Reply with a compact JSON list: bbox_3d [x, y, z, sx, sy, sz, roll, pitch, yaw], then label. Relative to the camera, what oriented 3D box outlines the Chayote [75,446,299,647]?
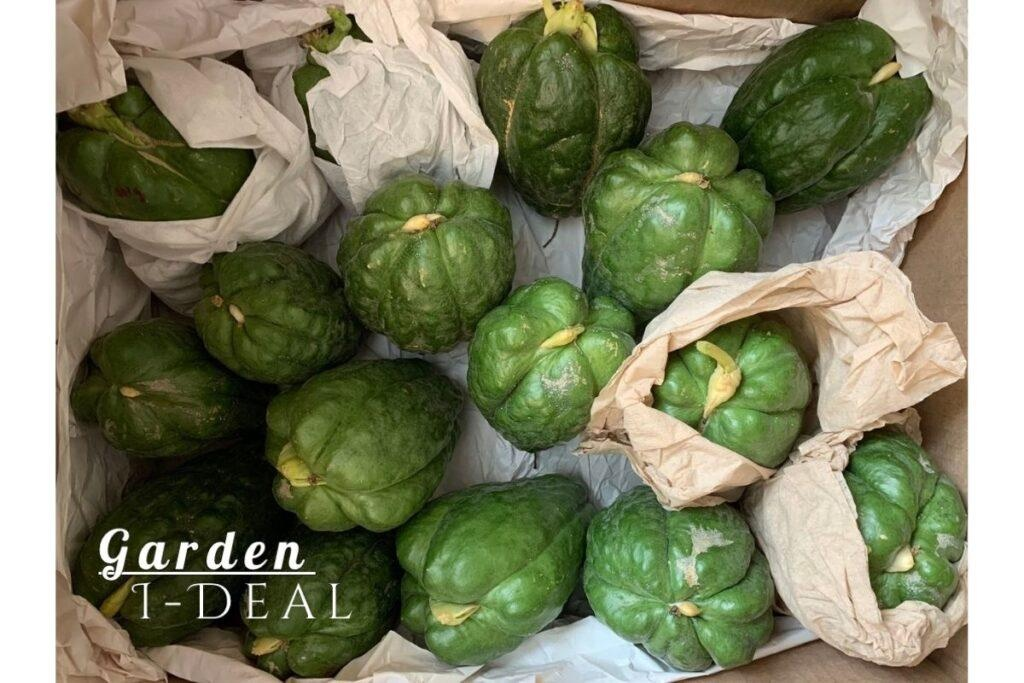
[{"bbox_3d":[-0.759,0.475,2.217,0.285,0.237,0.496,43,51,5],"label":"Chayote"}]

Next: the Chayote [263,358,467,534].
[{"bbox_3d":[-0.333,0.272,2.222,0.339,0.328,0.437,40,42,18],"label":"Chayote"}]

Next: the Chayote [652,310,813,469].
[{"bbox_3d":[0.485,0.076,2.072,0.300,0.321,0.327,3,6,27],"label":"Chayote"}]

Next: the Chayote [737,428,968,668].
[{"bbox_3d":[0.697,0.423,1.949,0.376,0.238,0.523,-15,73,5],"label":"Chayote"}]

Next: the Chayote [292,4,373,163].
[{"bbox_3d":[-0.425,-0.621,2.168,0.197,0.294,0.113,5,10,29],"label":"Chayote"}]

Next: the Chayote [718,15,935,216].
[{"bbox_3d":[0.744,-0.588,2.187,0.488,0.402,0.307,-23,9,-6],"label":"Chayote"}]

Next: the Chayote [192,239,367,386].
[{"bbox_3d":[-0.573,-0.078,2.237,0.281,0.298,0.376,-16,6,21],"label":"Chayote"}]

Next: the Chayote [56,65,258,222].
[{"bbox_3d":[-0.849,-0.439,2.174,0.437,0.185,0.366,22,55,-1],"label":"Chayote"}]

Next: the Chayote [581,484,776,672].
[{"bbox_3d":[0.389,0.499,2.135,0.400,0.341,0.244,47,14,10],"label":"Chayote"}]

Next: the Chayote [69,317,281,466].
[{"bbox_3d":[-0.769,0.133,2.335,0.334,0.263,0.575,48,16,20],"label":"Chayote"}]

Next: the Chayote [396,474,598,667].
[{"bbox_3d":[-0.012,0.501,2.103,0.443,0.340,0.282,-30,46,-7],"label":"Chayote"}]

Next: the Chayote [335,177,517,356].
[{"bbox_3d":[-0.181,-0.174,2.054,0.356,0.288,0.393,5,78,-5],"label":"Chayote"}]
